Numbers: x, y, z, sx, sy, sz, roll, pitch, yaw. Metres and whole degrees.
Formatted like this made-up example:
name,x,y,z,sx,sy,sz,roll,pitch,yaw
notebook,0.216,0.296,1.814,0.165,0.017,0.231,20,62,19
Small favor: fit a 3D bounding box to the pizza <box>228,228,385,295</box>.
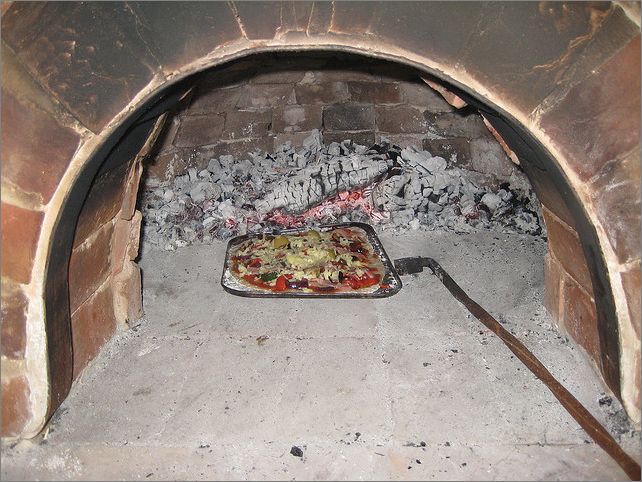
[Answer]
name,x,y,z,sx,sy,sz,roll,pitch,yaw
pizza,-0.106,0.147,3.018,0.618,0.510,0.093,-3,-57,-3
